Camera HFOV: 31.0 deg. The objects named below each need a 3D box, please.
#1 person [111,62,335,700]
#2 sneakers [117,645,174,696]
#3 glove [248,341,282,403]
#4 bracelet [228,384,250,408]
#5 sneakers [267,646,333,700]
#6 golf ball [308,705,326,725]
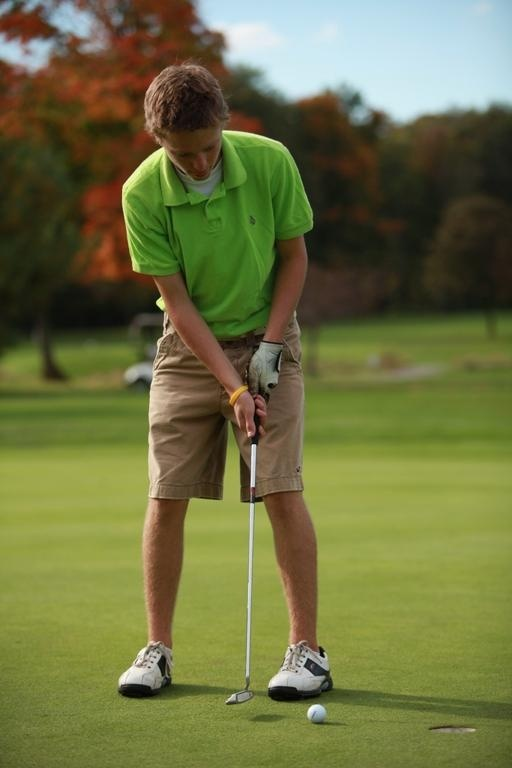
[{"bbox_3d":[-0.095,-0.001,2.256,0.507,1.254,0.574,-2,1,2],"label":"person"},{"bbox_3d":[-0.267,0.685,2.206,0.086,0.102,0.147,-2,0,18],"label":"sneakers"},{"bbox_3d":[0.026,-0.031,2.242,0.090,0.137,0.045,10,4,13],"label":"glove"},{"bbox_3d":[-0.047,0.030,2.216,0.013,0.046,0.049,41,24,12],"label":"bracelet"},{"bbox_3d":[0.107,0.678,2.147,0.079,0.083,0.180,-5,-9,22],"label":"sneakers"},{"bbox_3d":[0.126,0.705,1.962,0.039,0.033,0.034,10,-27,2],"label":"golf ball"}]
